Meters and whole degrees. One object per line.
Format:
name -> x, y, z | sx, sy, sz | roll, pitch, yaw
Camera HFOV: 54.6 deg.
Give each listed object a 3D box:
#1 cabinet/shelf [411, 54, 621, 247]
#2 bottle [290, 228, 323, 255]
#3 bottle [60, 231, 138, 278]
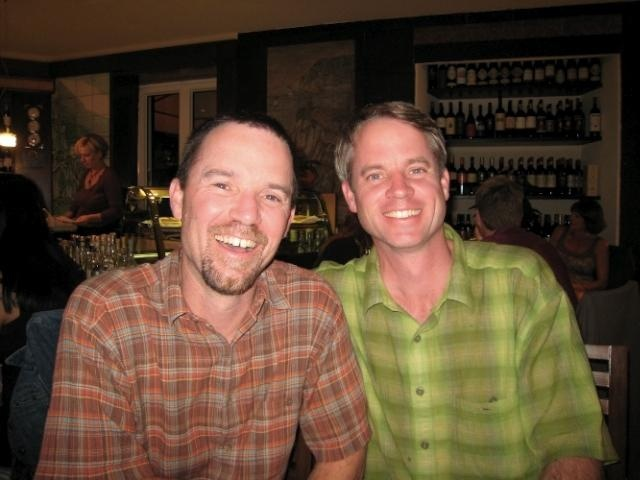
cabinet/shelf -> 1.911, -0.884, 5.697 | 2.016, 1.828, 0.590 | 0, 2, 9
bottle -> -0.136, 0.005, 5.630 | 0.379, 0.250, 0.205 | 2, -3, -30
bottle -> -1.652, 0.092, 4.600 | 0.384, 0.159, 0.529 | -4, 6, -39
